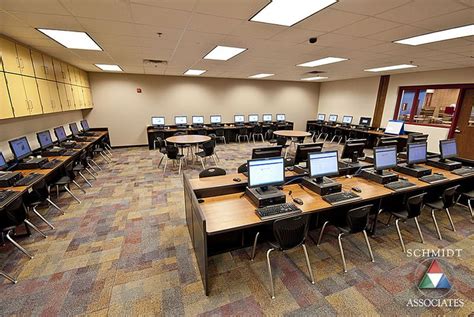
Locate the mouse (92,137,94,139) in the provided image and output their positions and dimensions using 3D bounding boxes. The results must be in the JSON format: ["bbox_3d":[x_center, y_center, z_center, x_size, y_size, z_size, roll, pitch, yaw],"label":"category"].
[{"bbox_3d":[-4.567,-0.655,7.936,0.076,0.017,0.075,-3,18,-19],"label":"mouse"}]

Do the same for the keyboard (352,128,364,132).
[{"bbox_3d":[4.956,-1.173,10.235,0.282,0.062,0.237,-6,16,-25],"label":"keyboard"}]

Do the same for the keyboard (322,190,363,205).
[{"bbox_3d":[1.807,0.671,4.375,0.659,0.097,0.295,-8,15,-19],"label":"keyboard"}]
